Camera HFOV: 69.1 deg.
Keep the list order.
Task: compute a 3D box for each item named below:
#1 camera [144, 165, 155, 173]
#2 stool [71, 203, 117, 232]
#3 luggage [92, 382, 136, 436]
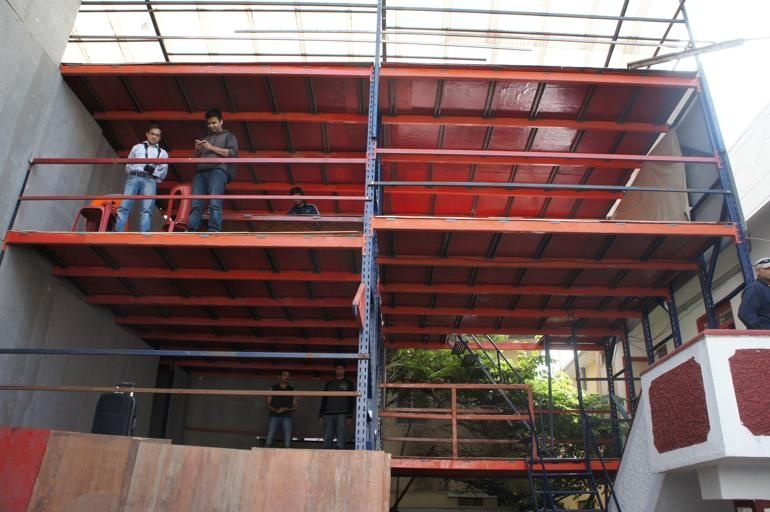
[{"bbox_3d":[-4.293,-1.592,10.158,0.139,0.159,0.189,13,-9,-40],"label":"camera"},{"bbox_3d":[-5.167,-0.715,9.911,0.493,0.645,0.517,-1,-34,-2],"label":"stool"},{"bbox_3d":[-4.009,2.308,8.288,0.534,0.604,0.369,11,-30,-20],"label":"luggage"}]
